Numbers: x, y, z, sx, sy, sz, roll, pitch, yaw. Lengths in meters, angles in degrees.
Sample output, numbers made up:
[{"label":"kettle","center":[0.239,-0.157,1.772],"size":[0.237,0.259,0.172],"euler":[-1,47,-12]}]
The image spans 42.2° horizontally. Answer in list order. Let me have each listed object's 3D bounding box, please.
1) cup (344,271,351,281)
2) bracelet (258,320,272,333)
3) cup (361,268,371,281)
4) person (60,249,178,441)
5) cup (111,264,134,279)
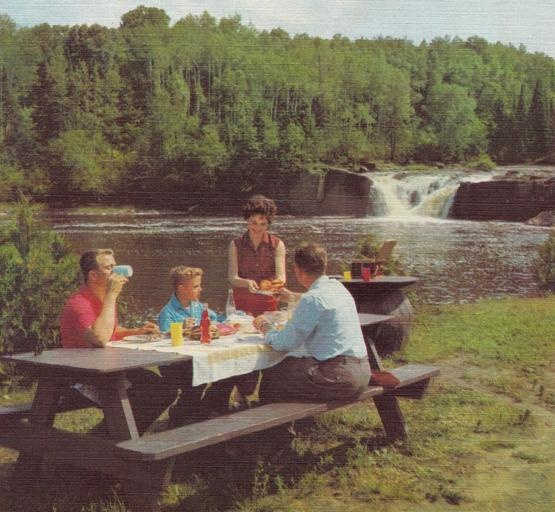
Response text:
[{"label":"cup","center":[0.694,0.196,7.061],"size":[0.088,0.096,0.111],"euler":[5,1,22]},{"label":"bracelet","center":[-0.085,0.499,5.046],"size":[0.094,0.070,0.083],"euler":[1,-19,3]},{"label":"cup","center":[0.871,0.179,7.008],"size":[0.127,0.152,0.114],"euler":[2,-1,2]},{"label":"person","center":[-1.115,0.622,4.986],"size":[0.889,1.183,0.664],"euler":[8,10,6]},{"label":"cup","center":[-1.061,0.106,4.921],"size":[0.160,0.080,0.086],"euler":[3,8,16]}]
